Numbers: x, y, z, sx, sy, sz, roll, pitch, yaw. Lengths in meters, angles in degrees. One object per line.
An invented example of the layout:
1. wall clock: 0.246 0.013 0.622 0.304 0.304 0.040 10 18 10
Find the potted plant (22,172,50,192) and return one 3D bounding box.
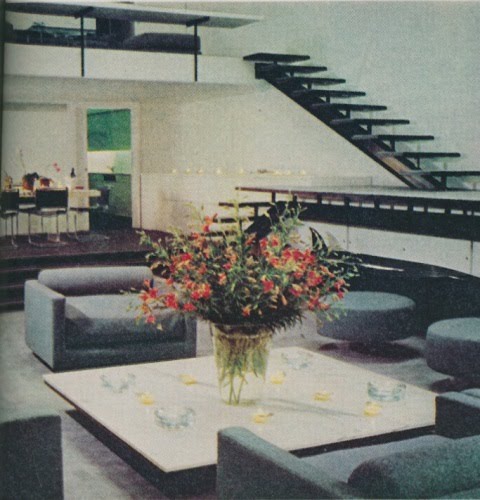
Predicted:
1. potted plant: -1.317 -0.435 3.842 0.162 0.112 0.117 1 3 -6

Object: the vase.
1. vase: 0.003 0.371 1.979 0.214 0.261 0.224 1 -5 2

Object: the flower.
1. flower: -0.108 0.209 1.972 0.633 0.650 0.547 -5 -10 -37
